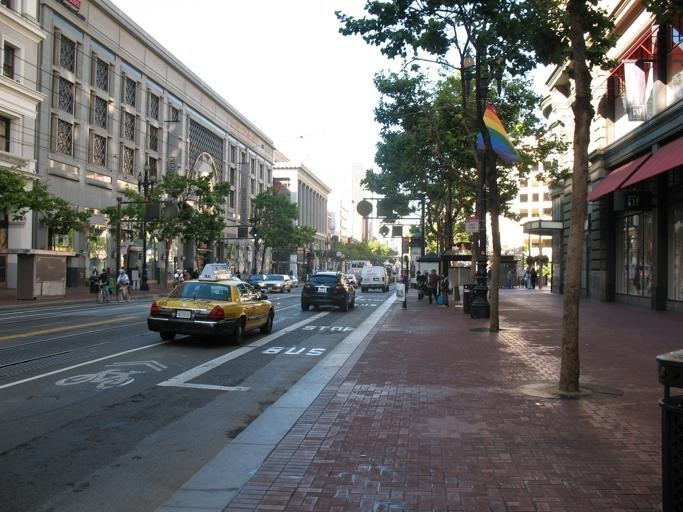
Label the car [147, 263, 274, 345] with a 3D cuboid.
[{"bbox_3d":[-3.055,1.414,17.302,1.476,1.485,3.518,1,0,14],"label":"car"}]

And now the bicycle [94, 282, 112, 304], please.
[{"bbox_3d":[-12.265,2.023,33.934,0.587,0.861,1.309,0,-7,1],"label":"bicycle"}]

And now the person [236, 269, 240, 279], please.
[{"bbox_3d":[-10.626,1.861,67.205,0.687,0.756,1.287,4,-9,-6],"label":"person"}]

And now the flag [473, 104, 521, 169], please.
[{"bbox_3d":[4.971,-3.924,20.876,1.033,1.968,0.639,-1,-3,-4],"label":"flag"}]

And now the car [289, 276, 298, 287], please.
[{"bbox_3d":[-4.796,2.570,64.345,0.871,0.803,2.062,-1,-6,-1],"label":"car"}]

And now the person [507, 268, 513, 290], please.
[{"bbox_3d":[15.327,2.102,60.181,0.408,1.703,1.421,-1,-3,15],"label":"person"}]

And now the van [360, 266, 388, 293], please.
[{"bbox_3d":[2.809,2.020,56.924,2.244,2.268,3.215,-1,-4,1],"label":"van"}]

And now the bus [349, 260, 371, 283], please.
[{"bbox_3d":[1.961,2.322,89.036,3.306,2.324,2.111,-2,2,-21],"label":"bus"}]

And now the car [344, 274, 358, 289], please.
[{"bbox_3d":[0.739,1.945,51.125,0.733,0.770,1.620,-1,-7,1],"label":"car"}]
